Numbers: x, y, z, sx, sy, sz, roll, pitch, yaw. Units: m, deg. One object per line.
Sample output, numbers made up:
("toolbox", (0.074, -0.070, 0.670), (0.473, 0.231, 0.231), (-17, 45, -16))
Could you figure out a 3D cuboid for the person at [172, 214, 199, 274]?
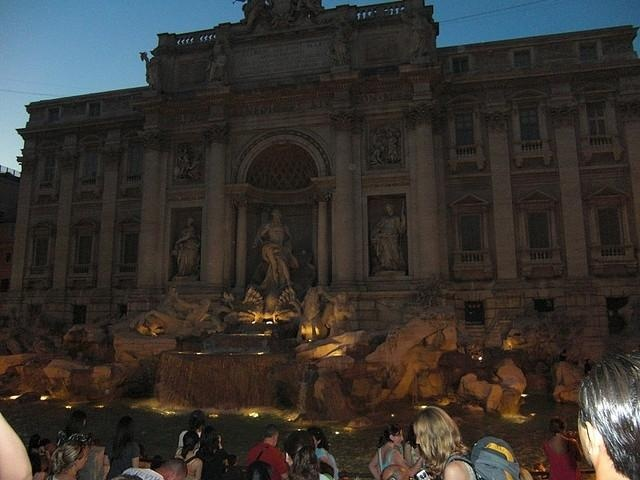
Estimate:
("person", (-7.165, 0.436, 28.526), (1.550, 3.333, 0.632), (-5, -12, 25))
